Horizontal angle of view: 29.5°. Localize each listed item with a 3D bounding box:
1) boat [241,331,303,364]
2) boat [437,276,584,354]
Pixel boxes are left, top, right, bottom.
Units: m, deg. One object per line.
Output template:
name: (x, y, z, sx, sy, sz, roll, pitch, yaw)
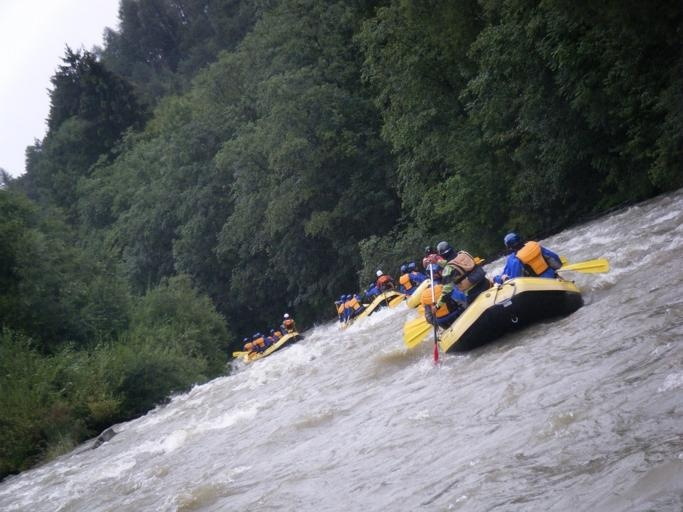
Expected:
boat: (-3.643, 4.818, 69.739, 3.158, 1.730, 2.177, -37, -5, -3)
boat: (6.597, 2.355, 50.731, 4.380, 2.881, 3.256, -2, 2, 9)
